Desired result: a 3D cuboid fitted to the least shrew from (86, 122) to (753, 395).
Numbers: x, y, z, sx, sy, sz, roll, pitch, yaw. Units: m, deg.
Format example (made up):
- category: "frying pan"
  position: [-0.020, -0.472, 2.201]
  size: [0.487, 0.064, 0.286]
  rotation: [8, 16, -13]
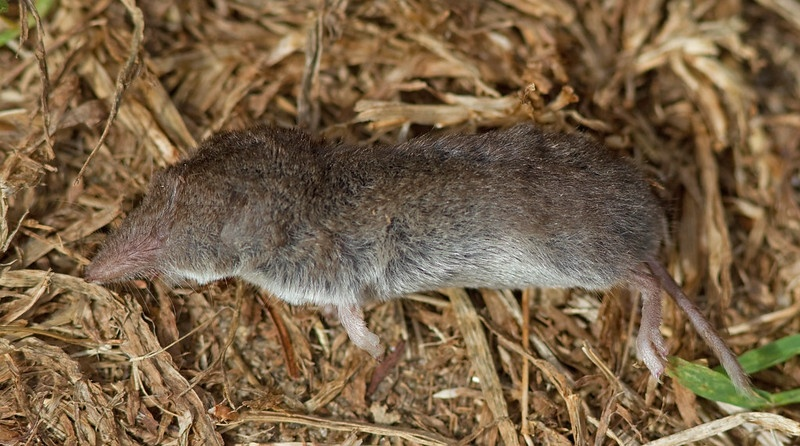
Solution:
- category: "least shrew"
  position: [0.035, 0.003, 6.690]
  size: [4.767, 0.519, 1.829]
  rotation: [3, 82, -2]
